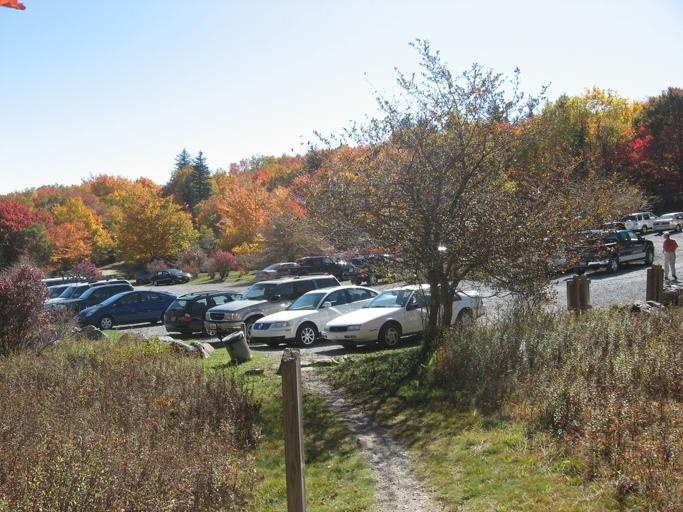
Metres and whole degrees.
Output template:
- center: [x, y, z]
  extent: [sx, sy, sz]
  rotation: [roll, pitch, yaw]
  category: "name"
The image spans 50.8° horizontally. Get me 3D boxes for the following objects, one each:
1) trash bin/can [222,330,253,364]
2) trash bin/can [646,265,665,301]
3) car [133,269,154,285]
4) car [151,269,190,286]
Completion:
- center: [-2.390, 2.145, 16.741]
  extent: [0.633, 0.758, 0.653]
  rotation: [-23, 5, -9]
  category: "trash bin/can"
- center: [7.407, 0.652, 17.010]
  extent: [0.392, 0.848, 0.662]
  rotation: [6, 6, 25]
  category: "trash bin/can"
- center: [-16.241, 1.817, 59.331]
  extent: [1.761, 0.874, 2.511]
  rotation: [-3, 9, -7]
  category: "car"
- center: [-12.489, 1.631, 52.748]
  extent: [2.493, 0.974, 1.219]
  rotation: [-5, -2, 24]
  category: "car"
